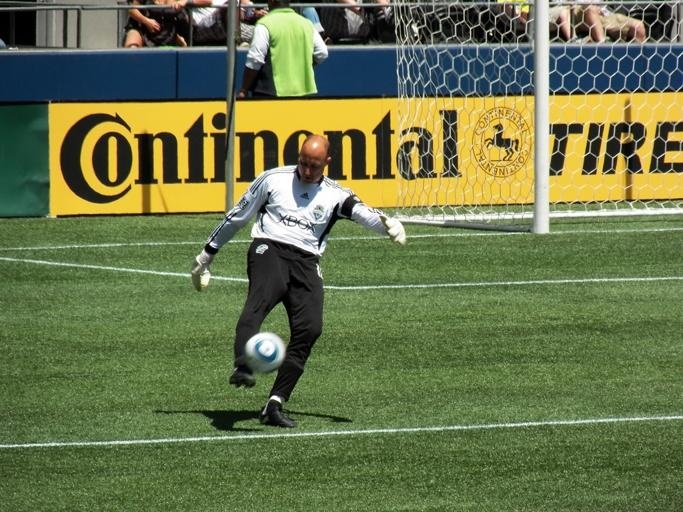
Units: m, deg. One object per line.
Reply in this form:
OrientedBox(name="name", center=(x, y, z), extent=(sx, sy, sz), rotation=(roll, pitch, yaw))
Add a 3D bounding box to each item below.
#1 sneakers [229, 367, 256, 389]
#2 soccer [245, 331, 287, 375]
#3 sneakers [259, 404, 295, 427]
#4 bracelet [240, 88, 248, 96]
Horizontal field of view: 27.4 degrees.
OrientedBox(name="sneakers", center=(-0.799, 1.006, 11.585), extent=(0.174, 0.182, 0.205), rotation=(10, 12, 42))
OrientedBox(name="soccer", center=(-0.623, 0.807, 11.569), extent=(0.293, 0.380, 0.305), rotation=(-19, -16, 33))
OrientedBox(name="sneakers", center=(-0.547, 1.334, 11.830), extent=(0.354, 0.164, 0.143), rotation=(14, 10, 14))
OrientedBox(name="bracelet", center=(-1.237, -2.050, 17.715), extent=(0.079, 0.080, 0.124), rotation=(15, -19, -5))
